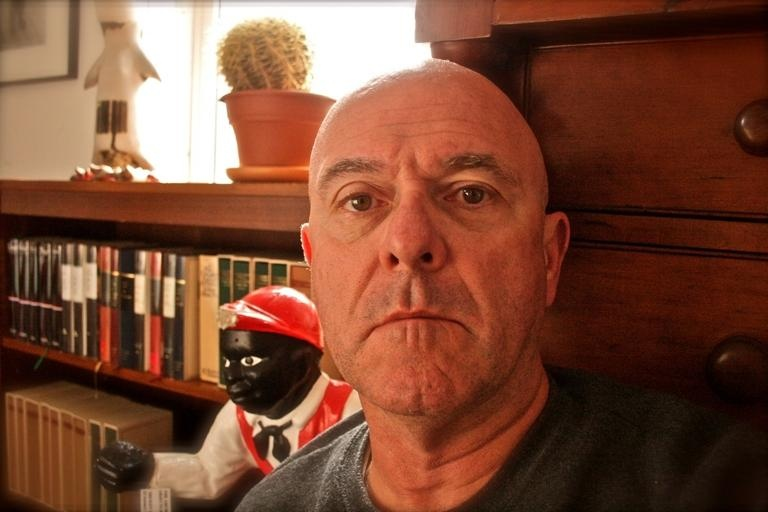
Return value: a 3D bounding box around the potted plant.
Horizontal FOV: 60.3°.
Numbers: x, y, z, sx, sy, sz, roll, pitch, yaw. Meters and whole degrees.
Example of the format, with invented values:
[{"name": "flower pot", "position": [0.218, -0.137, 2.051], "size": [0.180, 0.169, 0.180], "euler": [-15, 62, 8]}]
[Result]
[{"name": "potted plant", "position": [-0.266, -0.423, 1.728], "size": [0.342, 0.367, 0.315], "euler": [6, 6, 28]}]
